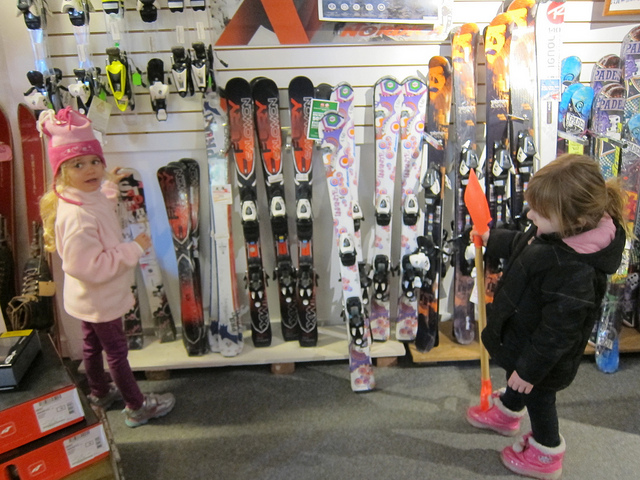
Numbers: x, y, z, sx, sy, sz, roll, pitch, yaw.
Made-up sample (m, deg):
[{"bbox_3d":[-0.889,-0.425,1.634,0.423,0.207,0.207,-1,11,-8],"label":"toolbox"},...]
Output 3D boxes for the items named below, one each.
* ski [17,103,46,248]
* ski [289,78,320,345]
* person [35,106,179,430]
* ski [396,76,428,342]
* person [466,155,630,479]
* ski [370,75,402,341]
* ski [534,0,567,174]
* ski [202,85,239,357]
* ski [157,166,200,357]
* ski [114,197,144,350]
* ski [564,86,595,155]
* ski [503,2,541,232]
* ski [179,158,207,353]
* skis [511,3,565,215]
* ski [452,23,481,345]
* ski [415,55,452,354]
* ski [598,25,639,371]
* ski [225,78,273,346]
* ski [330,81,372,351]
[{"bbox_3d":[-1.940,-0.470,3.289,0.125,0.972,0.140,-3,13,-16],"label":"ski"},{"bbox_3d":[-0.110,-0.166,3.330,0.199,1.726,0.129,-3,11,-5],"label":"ski"},{"bbox_3d":[-1.318,0.188,2.977,0.560,1.918,0.822,-9,14,-29],"label":"person"},{"bbox_3d":[0.618,-0.184,3.409,0.179,1.771,0.115,0,13,-2],"label":"ski"},{"bbox_3d":[1.142,0.443,2.515,0.662,1.728,0.383,5,14,31],"label":"person"},{"bbox_3d":[0.441,-0.203,3.369,0.182,1.840,0.120,2,10,5],"label":"ski"},{"bbox_3d":[1.525,-1.066,3.250,0.141,1.314,0.140,-1,14,1],"label":"ski"},{"bbox_3d":[-0.649,-0.120,3.400,0.212,1.920,0.198,-4,9,-13],"label":"ski"},{"bbox_3d":[-0.964,0.071,3.433,0.225,1.489,0.150,-8,11,-21],"label":"ski"},{"bbox_3d":[-1.221,0.196,3.105,0.133,1.071,0.186,-3,13,-12],"label":"ski"},{"bbox_3d":[1.819,-0.864,3.444,0.185,0.749,0.122,5,44,28],"label":"ski"},{"bbox_3d":[1.334,-0.882,3.227,0.162,1.558,0.266,-2,12,0],"label":"ski"},{"bbox_3d":[-0.815,-0.010,3.014,0.146,0.141,1.454,-2,44,-14],"label":"ski"},{"bbox_3d":[1.383,-0.887,3.137,0.188,1.453,0.243,-1,12,-1],"label":"skis"},{"bbox_3d":[0.996,-0.343,3.375,0.183,2.176,0.256,0,12,12],"label":"ski"},{"bbox_3d":[0.726,-0.153,3.387,0.213,2.105,0.207,1,11,-7],"label":"ski"},{"bbox_3d":[1.909,-0.357,3.141,0.231,2.352,0.127,1,6,22],"label":"ski"},{"bbox_3d":[-0.489,-0.254,3.414,0.203,1.985,0.190,-5,10,-17],"label":"ski"},{"bbox_3d":[0.208,-0.288,3.389,0.219,2.144,0.135,-8,9,-37],"label":"ski"}]
